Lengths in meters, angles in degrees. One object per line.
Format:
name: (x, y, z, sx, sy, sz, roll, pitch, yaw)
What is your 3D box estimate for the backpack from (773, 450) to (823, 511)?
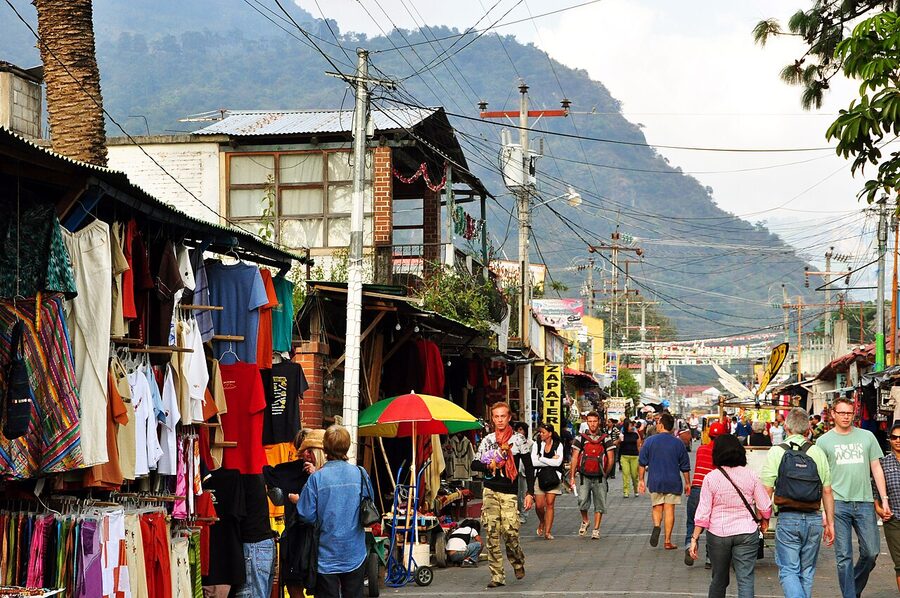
backpack: (4.512, 2.363, 19.041, 0.602, 0.820, 0.276, -3, -8, 11)

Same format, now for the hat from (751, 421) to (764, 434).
hat: (5.056, 2.049, 23.960, 0.150, 0.200, 0.196, 25, -37, -22)

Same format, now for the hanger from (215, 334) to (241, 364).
hanger: (-2.992, 0.671, 19.765, 0.386, 0.422, 0.053, 0, 3, -2)

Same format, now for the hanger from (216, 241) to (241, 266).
hanger: (-2.994, -0.644, 19.912, 0.469, 0.025, 0.525, 9, -29, -15)

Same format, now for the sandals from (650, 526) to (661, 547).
sandals: (3.357, 3.878, 23.942, 0.150, 0.428, 0.180, 5, -4, 12)

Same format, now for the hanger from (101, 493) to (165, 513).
hanger: (-3.797, 2.534, 18.315, 0.381, 0.224, 0.998, -8, -11, 38)

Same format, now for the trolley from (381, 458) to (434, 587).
trolley: (-0.634, 3.409, 22.442, 0.724, 1.808, 0.597, 0, -7, 32)

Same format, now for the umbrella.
umbrella: (-0.522, 2.834, 24.221, 2.306, 2.408, 2.305, 6, -12, -31)

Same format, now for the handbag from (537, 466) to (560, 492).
handbag: (1.756, 3.165, 25.978, 0.396, 0.432, 0.221, -7, 7, 9)

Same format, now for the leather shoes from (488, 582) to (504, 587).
leather shoes: (0.686, 4.196, 21.525, 0.229, 0.101, 0.085, 6, -2, -2)

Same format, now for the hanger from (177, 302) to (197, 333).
hanger: (-3.421, 0.228, 19.141, 0.369, 0.369, 0.206, 2, -7, -18)

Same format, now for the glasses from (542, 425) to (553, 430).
glasses: (1.753, 2.271, 26.197, 0.110, 0.094, 0.122, -6, -11, 27)

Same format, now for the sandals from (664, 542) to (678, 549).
sandals: (3.666, 4.092, 24.349, 0.101, 0.123, 0.308, 8, 5, 37)

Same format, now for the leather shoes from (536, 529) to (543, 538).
leather shoes: (1.646, 4.267, 26.712, 0.110, 0.134, 0.328, 0, -10, 2)

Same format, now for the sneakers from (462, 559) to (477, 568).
sneakers: (0.322, 4.230, 23.468, 0.096, 0.093, 0.210, 2, 2, 32)

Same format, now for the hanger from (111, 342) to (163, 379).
hanger: (-3.906, 0.738, 18.315, 0.324, 0.219, 0.522, 6, -4, 14)

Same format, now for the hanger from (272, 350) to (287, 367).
hanger: (-2.392, 0.831, 20.860, 0.211, 0.194, 0.199, 0, -8, -6)
